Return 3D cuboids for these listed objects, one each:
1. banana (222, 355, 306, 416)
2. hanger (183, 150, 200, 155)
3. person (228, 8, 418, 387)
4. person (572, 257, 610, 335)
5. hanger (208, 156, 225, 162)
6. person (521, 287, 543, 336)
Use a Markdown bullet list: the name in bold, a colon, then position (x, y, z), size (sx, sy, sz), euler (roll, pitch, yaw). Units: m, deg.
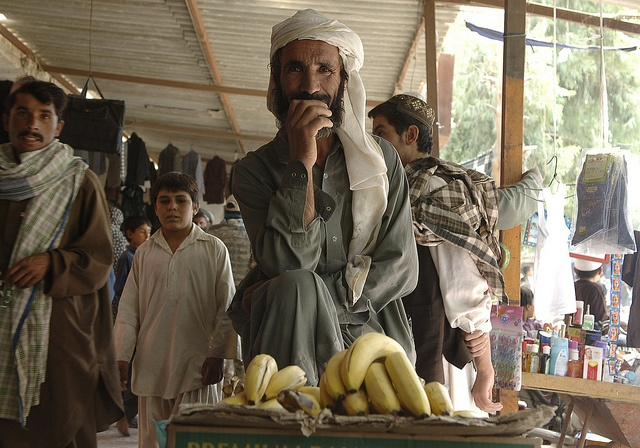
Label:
- **banana**: position (-0.320, 0.958, 4.390), size (0.127, 0.242, 0.436), euler (-40, -2, 41)
- **hanger**: position (-2.530, -1.421, 14.158), size (0.309, 0.109, 0.337), euler (-6, 9, -33)
- **person**: position (0.037, -0.237, 5.137), size (1.295, 2.683, 0.653), euler (3, -9, -10)
- **person**: position (3.595, 0.875, 9.559), size (0.421, 0.878, 0.894), euler (-2, -10, 21)
- **hanger**: position (-2.238, -1.440, 15.686), size (0.269, 0.088, 0.284), euler (2, -6, -4)
- **person**: position (2.692, 1.051, 9.155), size (0.262, 0.591, 0.997), euler (-1, -10, 16)
